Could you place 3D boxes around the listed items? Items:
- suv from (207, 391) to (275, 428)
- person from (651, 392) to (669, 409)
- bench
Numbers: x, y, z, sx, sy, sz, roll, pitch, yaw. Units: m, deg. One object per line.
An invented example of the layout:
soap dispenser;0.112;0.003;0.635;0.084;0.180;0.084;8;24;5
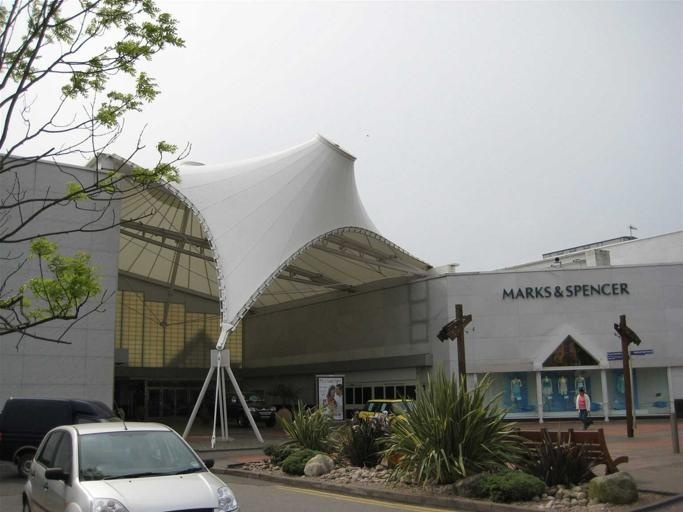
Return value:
suv;-5.700;9.660;37.105;1.746;1.744;3.822;11;-20;-41
person;19.051;8.646;35.625;0.752;0.922;0.803;1;-7;14
bench;5.056;4.191;12.822;1.931;1.077;1.227;-11;-7;24
